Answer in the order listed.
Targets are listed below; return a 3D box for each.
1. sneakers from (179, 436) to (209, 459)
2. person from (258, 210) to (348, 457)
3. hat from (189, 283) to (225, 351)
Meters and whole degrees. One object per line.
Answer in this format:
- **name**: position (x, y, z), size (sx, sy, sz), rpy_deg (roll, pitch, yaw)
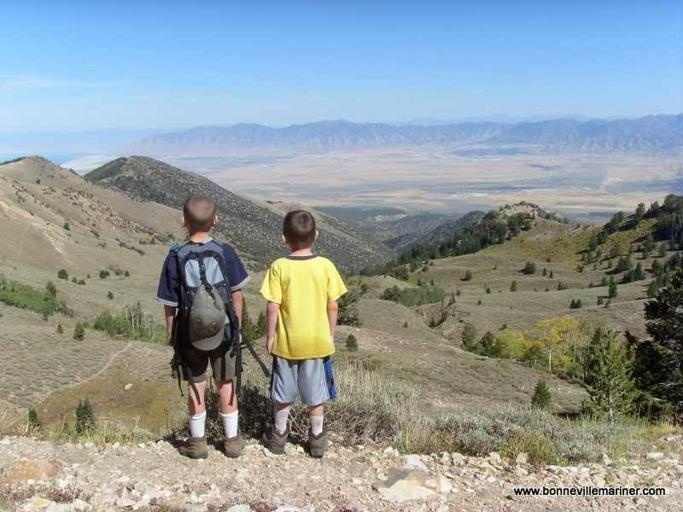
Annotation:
- **sneakers**: position (-2.430, 3.137, 8.739), size (0.467, 0.293, 0.294), rpy_deg (9, 2, 30)
- **person**: position (-0.681, 1.318, 8.716), size (1.245, 4.104, 0.715), rpy_deg (1, -2, -6)
- **hat**: position (-2.089, 0.928, 8.187), size (0.585, 0.987, 0.354), rpy_deg (0, -6, -7)
